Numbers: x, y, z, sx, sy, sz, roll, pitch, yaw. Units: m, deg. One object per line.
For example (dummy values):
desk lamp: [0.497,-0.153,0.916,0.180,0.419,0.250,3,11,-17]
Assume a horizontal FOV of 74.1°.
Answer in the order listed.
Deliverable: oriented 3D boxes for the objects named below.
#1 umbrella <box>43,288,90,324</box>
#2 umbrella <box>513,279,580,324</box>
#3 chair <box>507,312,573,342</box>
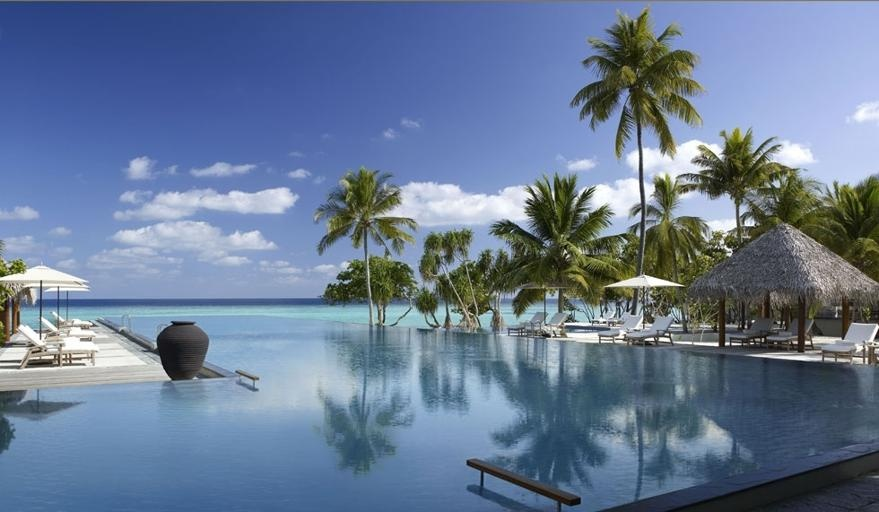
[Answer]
umbrella: [-16.229,1.986,25.474,1.989,1.841,2.070,0,0,-22]
umbrella: [5.376,2.291,29.563,2.175,1.688,2.138,2,3,20]
chair: [5.013,3.469,28.233,1.457,0.876,2.309,5,-9,-32]
